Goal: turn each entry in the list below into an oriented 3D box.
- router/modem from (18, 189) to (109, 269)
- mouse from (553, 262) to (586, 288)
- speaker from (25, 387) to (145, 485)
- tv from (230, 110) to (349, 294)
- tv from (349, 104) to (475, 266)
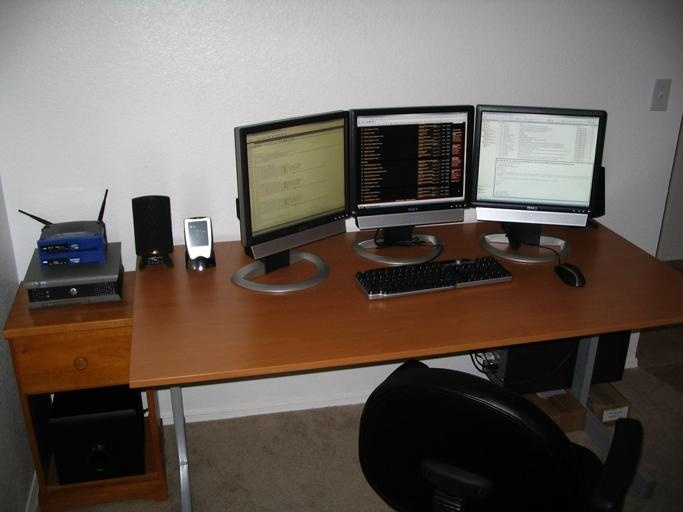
[{"bbox_3d":[-1.128,-0.113,2.315,0.232,0.254,0.337,-7,25,-16],"label":"router/modem"},{"bbox_3d":[0.934,0.077,2.288,0.073,0.039,0.119,-12,29,-14],"label":"mouse"},{"bbox_3d":[-1.026,0.758,2.376,0.388,0.318,0.407,-2,7,-16],"label":"speaker"},{"bbox_3d":[-0.201,-0.217,2.291,0.530,0.691,0.345,-16,31,-29],"label":"tv"},{"bbox_3d":[0.303,-0.321,2.438,0.539,0.688,0.377,-4,27,-8],"label":"tv"}]
